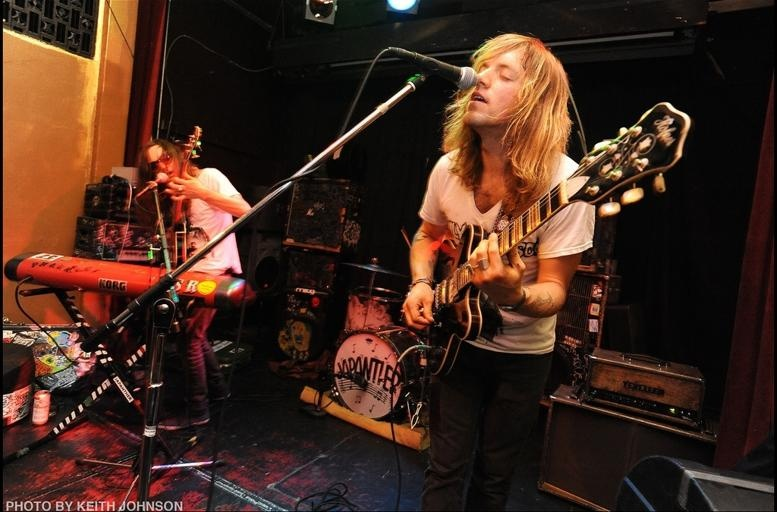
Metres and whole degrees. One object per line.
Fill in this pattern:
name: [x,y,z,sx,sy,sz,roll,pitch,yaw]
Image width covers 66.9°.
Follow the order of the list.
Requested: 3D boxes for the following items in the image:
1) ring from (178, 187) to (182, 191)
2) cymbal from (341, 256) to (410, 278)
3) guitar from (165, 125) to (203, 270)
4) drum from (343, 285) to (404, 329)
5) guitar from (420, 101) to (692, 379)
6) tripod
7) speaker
ring: [-1.521,-0.493,4.301,0.028,0.009,0.038,4,-2,-13]
cymbal: [-0.123,0.116,5.351,0.335,0.068,0.329,11,3,-17]
guitar: [-1.475,-0.441,4.516,0.429,1.033,0.147,5,6,36]
drum: [-0.129,0.489,5.515,0.446,0.427,0.430,1,4,-13]
guitar: [0.739,0.033,3.503,0.280,0.782,2.169,16,-36,-17]
tripod: [-1.383,0.674,3.590,0.873,1.882,1.269,5,8,-20]
speaker: [-0.660,-0.402,5.874,0.775,0.722,0.438,6,3,19]
